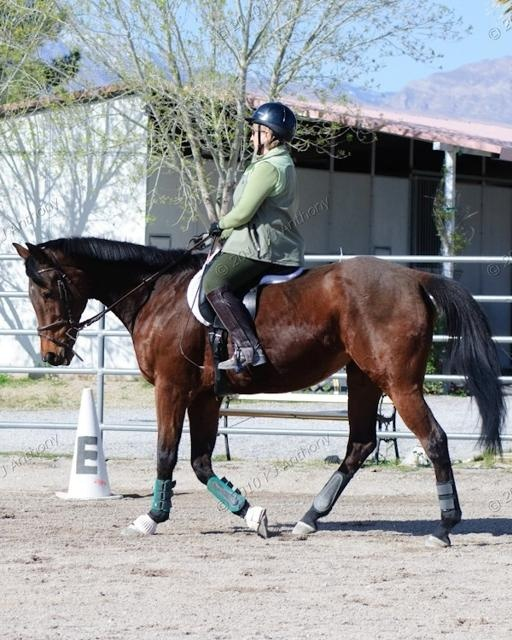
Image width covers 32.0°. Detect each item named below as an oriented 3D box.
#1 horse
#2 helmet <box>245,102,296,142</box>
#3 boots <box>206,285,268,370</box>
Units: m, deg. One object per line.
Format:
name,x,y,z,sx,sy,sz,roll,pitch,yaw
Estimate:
horse,0.052,0.399,5.624,2.927,1.879,0.770,0,7,11
helmet,0.039,-1.258,5.650,0.373,0.218,0.243,6,10,7
boots,-0.115,0.071,5.309,0.338,0.508,0.176,-1,7,0
